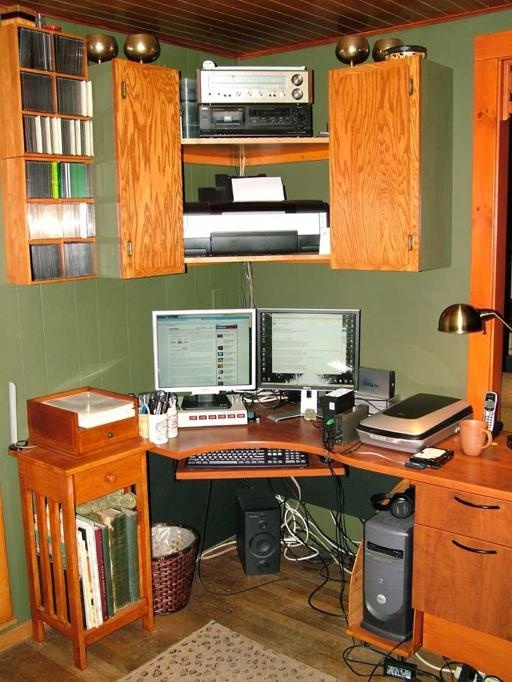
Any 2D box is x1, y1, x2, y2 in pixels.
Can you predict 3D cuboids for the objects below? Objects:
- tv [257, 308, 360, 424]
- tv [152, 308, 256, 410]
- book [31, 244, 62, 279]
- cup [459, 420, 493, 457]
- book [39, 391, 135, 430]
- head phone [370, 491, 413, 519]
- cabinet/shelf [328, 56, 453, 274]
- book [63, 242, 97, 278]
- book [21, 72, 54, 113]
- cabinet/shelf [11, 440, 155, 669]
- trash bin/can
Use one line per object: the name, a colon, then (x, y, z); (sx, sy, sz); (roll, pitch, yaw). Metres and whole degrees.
tv: (0.223, 0.088, 2.375); (0.473, 0.506, 0.172); (1, 3, 12)
tv: (-0.221, 0.065, 2.393); (0.424, 0.390, 0.134); (-1, 12, -8)
book: (-0.730, -0.277, 1.980); (0.041, 0.099, 0.117); (8, 13, 23)
cup: (0.716, 0.316, 1.877); (0.086, 0.114, 0.131); (0, 9, 1)
book: (-0.599, 0.245, 2.069); (0.157, 0.039, 0.172); (13, 16, 35)
head phone: (0.475, 0.568, 2.001); (0.124, 0.061, 0.096); (-1, 7, 37)
cabinet/shelf: (0.510, -0.639, 2.140); (0.474, 0.757, 0.333); (-1, 4, 9)
book: (-0.654, -0.301, 2.110); (0.018, 0.118, 0.139); (8, 9, 30)
book: (-0.717, -0.815, 1.866); (0.016, 0.103, 0.150); (10, 20, 24)
cabinet/shelf: (-0.610, 0.753, 2.119); (0.397, 0.765, 0.413); (3, 6, 41)
trash bin/can: (-0.370, 0.955, 2.429); (0.255, 0.208, 0.285); (1, 1, 33)
